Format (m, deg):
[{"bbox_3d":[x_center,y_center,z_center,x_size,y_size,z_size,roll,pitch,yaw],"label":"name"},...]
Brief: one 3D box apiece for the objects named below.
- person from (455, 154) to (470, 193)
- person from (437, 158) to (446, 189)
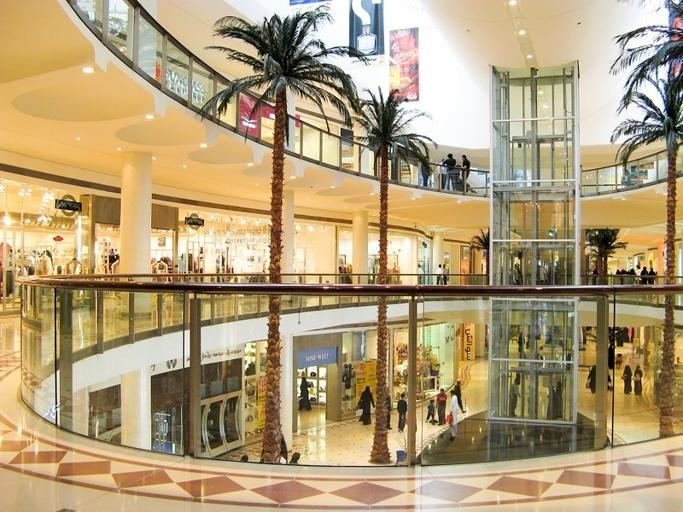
[{"bbox_3d":[5.677,-3.756,27.696,0.580,1.903,1.589,0,-1,12],"label":"person"},{"bbox_3d":[4.549,-3.456,26.671,0.225,1.138,0.624,0,-1,30],"label":"person"}]
